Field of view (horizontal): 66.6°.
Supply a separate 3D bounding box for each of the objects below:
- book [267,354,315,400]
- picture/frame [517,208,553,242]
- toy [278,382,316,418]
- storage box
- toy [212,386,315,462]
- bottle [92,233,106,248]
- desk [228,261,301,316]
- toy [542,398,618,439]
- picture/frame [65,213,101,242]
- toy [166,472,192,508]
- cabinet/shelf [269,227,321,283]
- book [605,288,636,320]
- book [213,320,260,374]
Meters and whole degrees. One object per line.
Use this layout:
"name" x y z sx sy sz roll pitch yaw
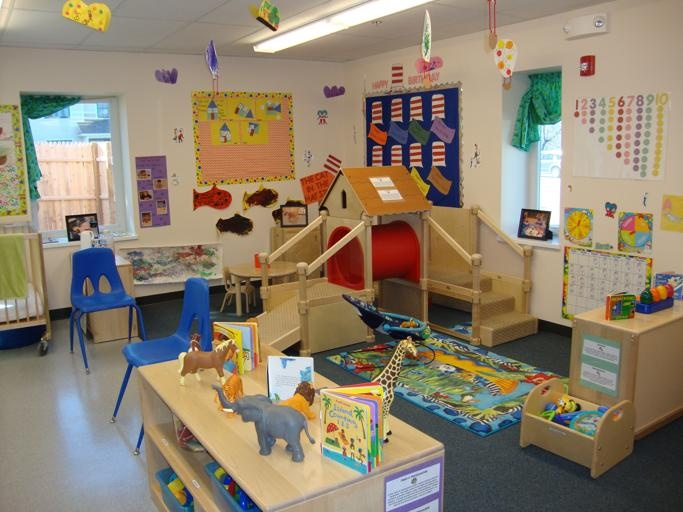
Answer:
"book" -0.270 0.650 2.742 0.205 0.219 0.021 -10 8 8
"picture/frame" 2.208 -0.338 5.906 0.202 0.361 0.356 5 3 -36
"toy" -0.210 0.745 2.668 0.137 0.124 0.191 12 26 36
"storage box" 1.680 1.178 3.712 0.598 0.527 0.689 -9 12 -39
"toy" -0.318 0.781 2.524 0.528 0.313 0.175 7 11 18
"bottle" -3.015 -0.170 6.464 0.206 0.156 0.210 3 13 -1
"desk" -0.997 0.288 6.603 0.761 0.486 0.772 4 9 23
"toy" 1.676 1.144 3.705 0.223 0.190 0.309 -6 14 -42
"picture/frame" -3.228 -0.343 6.473 0.383 0.333 0.028 -2 1 -37
"toy" -0.936 1.377 3.009 0.137 0.062 0.186 -20 52 -42
"cabinet/shelf" -0.701 -0.035 7.450 0.758 0.769 0.764 -1 7 -11
"book" 2.072 0.353 3.829 0.198 0.271 0.199 0 6 -35
"book" -0.661 0.554 3.274 0.260 0.357 0.301 4 8 25
